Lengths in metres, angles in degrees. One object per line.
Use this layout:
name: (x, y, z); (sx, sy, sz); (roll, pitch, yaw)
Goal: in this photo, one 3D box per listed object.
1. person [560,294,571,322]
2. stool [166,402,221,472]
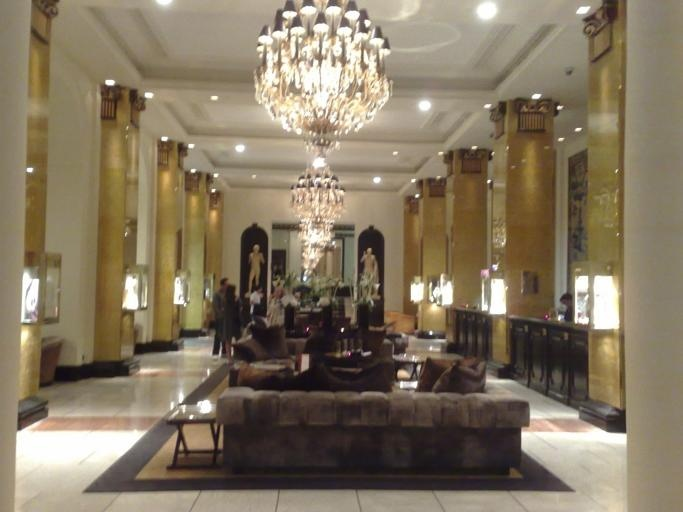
person: (4.449, 1.013, 11.157); (0.216, 0.513, 0.939); (1, 1, 22)
stool: (-1.736, 1.971, 6.165); (0.640, 0.449, 0.490); (-24, -16, 41)
